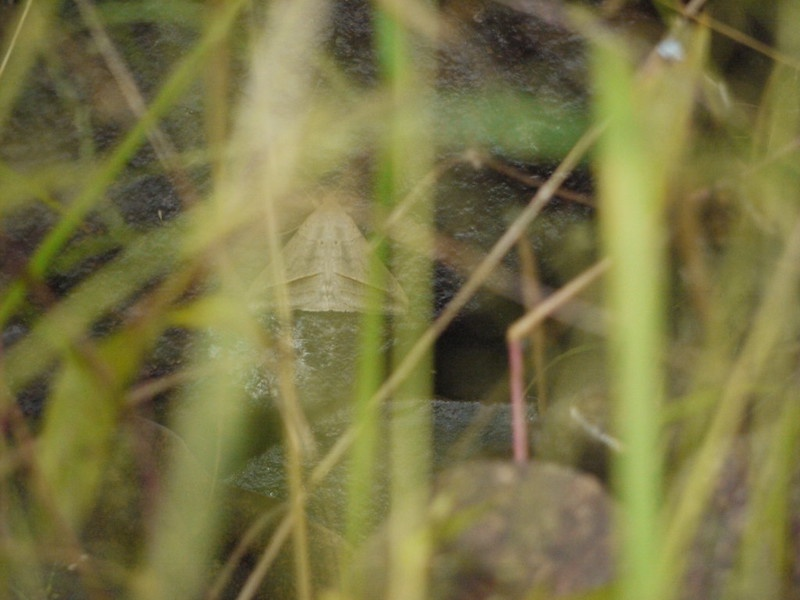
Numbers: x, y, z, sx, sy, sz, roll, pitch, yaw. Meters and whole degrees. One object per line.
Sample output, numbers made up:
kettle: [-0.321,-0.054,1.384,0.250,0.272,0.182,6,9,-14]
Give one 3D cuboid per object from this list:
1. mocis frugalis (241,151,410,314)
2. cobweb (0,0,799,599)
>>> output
mocis frugalis: [-0.058,-0.045,0.972,0.100,0.116,0.029,2,-1,-4]
cobweb: [-0.061,0.011,1.079,0.434,0.102,0.464,0,80,2]
